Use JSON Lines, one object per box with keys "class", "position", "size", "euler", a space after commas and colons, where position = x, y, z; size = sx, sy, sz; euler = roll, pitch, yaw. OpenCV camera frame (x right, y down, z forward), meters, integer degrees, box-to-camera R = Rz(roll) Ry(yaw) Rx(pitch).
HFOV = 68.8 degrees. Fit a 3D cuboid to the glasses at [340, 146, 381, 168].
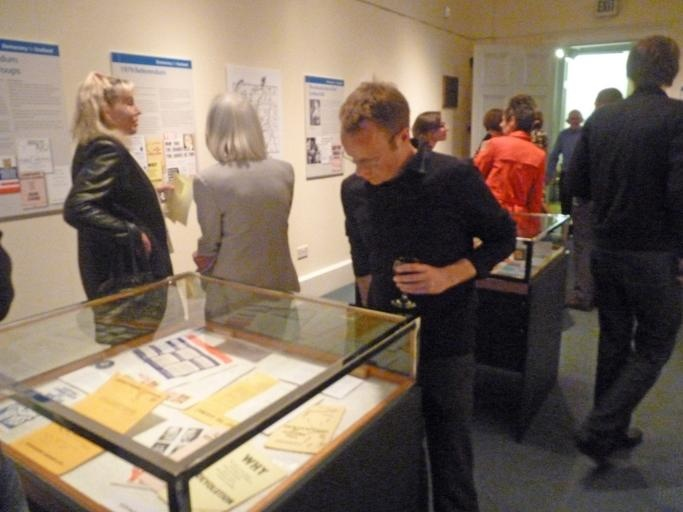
{"class": "glasses", "position": [0.079, -0.361, 1.803], "size": [0.107, 0.048, 0.082], "euler": [-19, 26, -40]}
